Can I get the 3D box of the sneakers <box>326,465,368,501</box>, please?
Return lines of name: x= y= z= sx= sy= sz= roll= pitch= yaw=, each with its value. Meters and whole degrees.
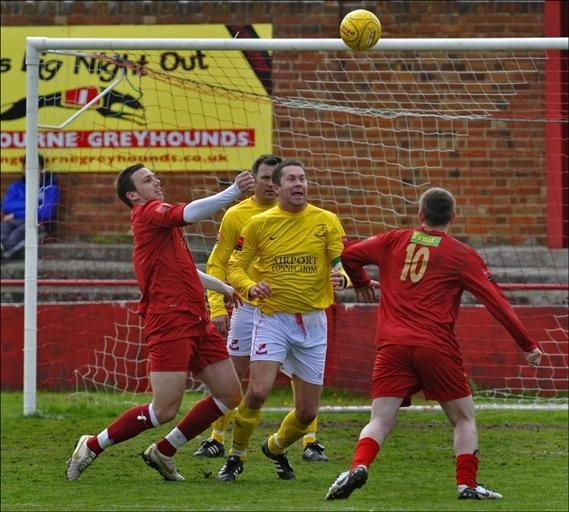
sneakers: x=0.494 y=1.624 z=7.807 sx=0.156 sy=0.218 sz=0.450 roll=28 pitch=-32 yaw=-14

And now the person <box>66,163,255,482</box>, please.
person: x=-0.912 y=0.569 z=8.447 sx=1.330 sy=2.433 sz=0.526 roll=0 pitch=1 yaw=-1

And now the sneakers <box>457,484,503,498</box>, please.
sneakers: x=1.451 y=1.738 z=7.961 sx=0.329 sy=0.127 sz=0.116 roll=0 pitch=-5 yaw=-1

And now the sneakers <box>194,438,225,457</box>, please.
sneakers: x=-0.705 y=1.704 z=9.529 sx=0.349 sy=0.162 sz=0.116 roll=2 pitch=-1 yaw=-11

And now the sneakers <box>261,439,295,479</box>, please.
sneakers: x=-0.056 y=1.669 z=8.829 sx=0.101 sy=0.298 sz=0.142 roll=-34 pitch=-9 yaw=-30

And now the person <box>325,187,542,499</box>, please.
person: x=1.069 y=0.636 z=8.021 sx=1.336 sy=2.284 sz=0.647 roll=0 pitch=1 yaw=7

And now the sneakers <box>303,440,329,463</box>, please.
sneakers: x=0.278 y=1.699 z=9.320 sx=0.106 sy=0.114 sz=0.270 roll=1 pitch=-8 yaw=-19

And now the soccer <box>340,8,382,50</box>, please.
soccer: x=0.688 y=-2.066 z=9.803 sx=0.355 sy=0.369 sz=0.303 roll=0 pitch=1 yaw=2
